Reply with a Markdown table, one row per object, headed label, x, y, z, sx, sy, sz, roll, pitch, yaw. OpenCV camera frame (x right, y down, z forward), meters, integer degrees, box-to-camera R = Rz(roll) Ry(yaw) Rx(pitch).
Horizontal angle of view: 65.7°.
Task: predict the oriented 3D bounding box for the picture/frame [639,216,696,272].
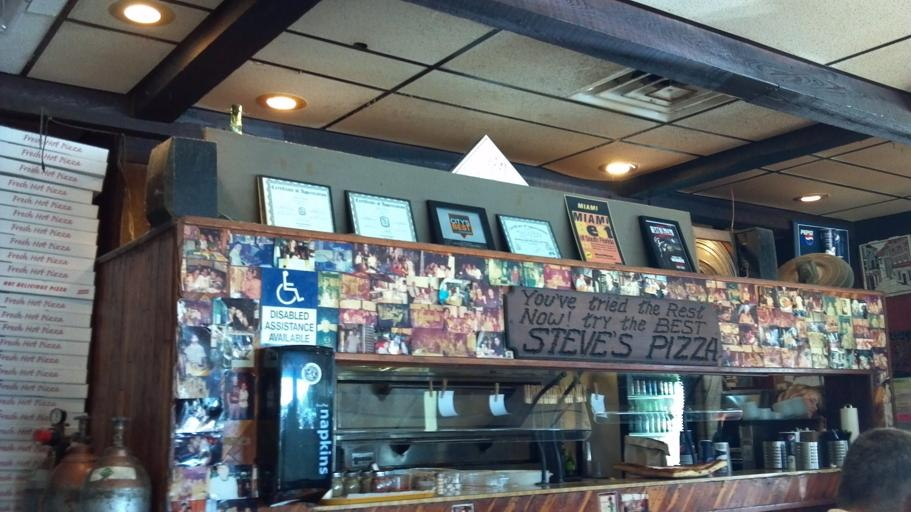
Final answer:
| label | x | y | z | sx | sy | sz | roll | pitch | yaw |
| --- | --- | --- | --- | --- | --- | --- | --- | --- | --- |
| picture/frame | 1.827 | -0.104 | 6.174 | 0.671 | 0.628 | 0.071 | -2 | -30 | -36 |

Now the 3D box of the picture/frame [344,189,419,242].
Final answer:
| label | x | y | z | sx | sy | sz | roll | pitch | yaw |
| --- | --- | --- | --- | --- | --- | --- | --- | --- | --- |
| picture/frame | -0.549 | -0.272 | 5.287 | 0.570 | 0.393 | 0.051 | 4 | -20 | -42 |

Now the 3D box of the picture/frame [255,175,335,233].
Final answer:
| label | x | y | z | sx | sy | sz | roll | pitch | yaw |
| --- | --- | --- | --- | --- | --- | --- | --- | --- | --- |
| picture/frame | -1.170 | -0.377 | 5.052 | 0.552 | 0.378 | 0.051 | 6 | -35 | -26 |

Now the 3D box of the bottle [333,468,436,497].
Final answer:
| label | x | y | z | sx | sy | sz | roll | pitch | yaw |
| --- | --- | --- | --- | --- | --- | --- | --- | --- | --- |
| bottle | -0.498 | 1.557 | 4.862 | 0.734 | 0.168 | 0.069 | 3 | -17 | -23 |

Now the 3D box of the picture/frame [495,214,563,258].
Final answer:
| label | x | y | z | sx | sy | sz | roll | pitch | yaw |
| --- | --- | --- | --- | --- | --- | --- | --- | --- | --- |
| picture/frame | 0.623 | -0.163 | 5.728 | 0.054 | 0.345 | 0.556 | -33 | 25 | -35 |

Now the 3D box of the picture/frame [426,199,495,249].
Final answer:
| label | x | y | z | sx | sy | sz | roll | pitch | yaw |
| --- | --- | --- | --- | --- | --- | --- | --- | --- | --- |
| picture/frame | 0.015 | -0.254 | 5.475 | 0.524 | 0.363 | 0.032 | 4 | -33 | -28 |
